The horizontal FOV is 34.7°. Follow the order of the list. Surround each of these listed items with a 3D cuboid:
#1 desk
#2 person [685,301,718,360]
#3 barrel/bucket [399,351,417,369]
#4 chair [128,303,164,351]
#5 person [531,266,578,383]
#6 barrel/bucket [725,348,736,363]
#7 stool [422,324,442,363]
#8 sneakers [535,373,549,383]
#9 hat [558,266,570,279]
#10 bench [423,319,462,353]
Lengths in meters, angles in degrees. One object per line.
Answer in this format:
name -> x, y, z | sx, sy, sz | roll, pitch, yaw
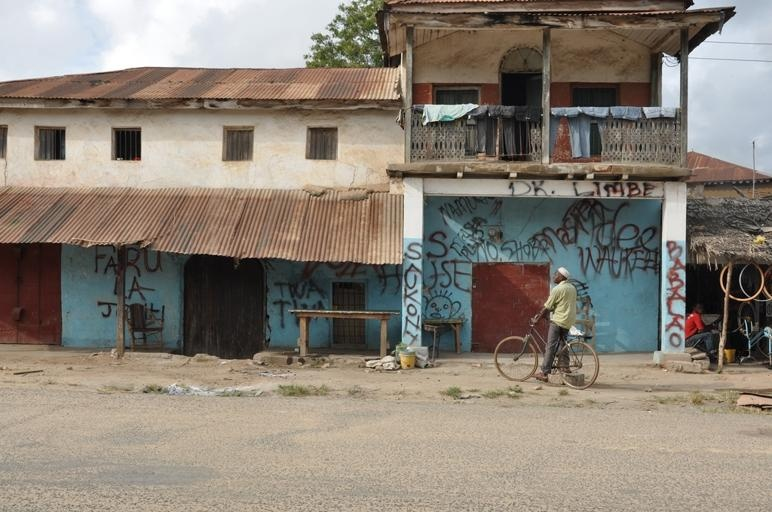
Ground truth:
desk -> -1.165, 2.104, 34.374 | 3.025, 1.366, 2.398 | 0, -5, -3
person -> 8.717, 2.100, 34.270 | 0.796, 1.550, 1.223 | -2, -5, 16
barrel/bucket -> 0.569, 2.761, 32.935 | 0.470, 0.368, 0.437 | 0, -2, 0
chair -> -6.833, 1.973, 35.231 | 1.021, 1.087, 0.879 | 3, -5, 8
person -> 4.198, 1.706, 30.751 | 0.976, 2.792, 0.534 | -1, -5, 6
barrel/bucket -> 9.557, 2.765, 34.465 | 0.423, 0.353, 0.396 | -3, 4, 0
stool -> 1.283, 2.357, 34.742 | 0.470, 0.954, 0.979 | 0, -5, 2
sneakers -> 3.889, 3.028, 30.831 | 0.394, 0.164, 0.145 | 22, 8, 41
hat -> 4.561, 0.424, 31.843 | 0.298, 0.161, 0.275 | 37, 15, 15
bench -> 1.710, 2.277, 35.273 | 1.168, 0.901, 1.123 | -1, -6, -4
